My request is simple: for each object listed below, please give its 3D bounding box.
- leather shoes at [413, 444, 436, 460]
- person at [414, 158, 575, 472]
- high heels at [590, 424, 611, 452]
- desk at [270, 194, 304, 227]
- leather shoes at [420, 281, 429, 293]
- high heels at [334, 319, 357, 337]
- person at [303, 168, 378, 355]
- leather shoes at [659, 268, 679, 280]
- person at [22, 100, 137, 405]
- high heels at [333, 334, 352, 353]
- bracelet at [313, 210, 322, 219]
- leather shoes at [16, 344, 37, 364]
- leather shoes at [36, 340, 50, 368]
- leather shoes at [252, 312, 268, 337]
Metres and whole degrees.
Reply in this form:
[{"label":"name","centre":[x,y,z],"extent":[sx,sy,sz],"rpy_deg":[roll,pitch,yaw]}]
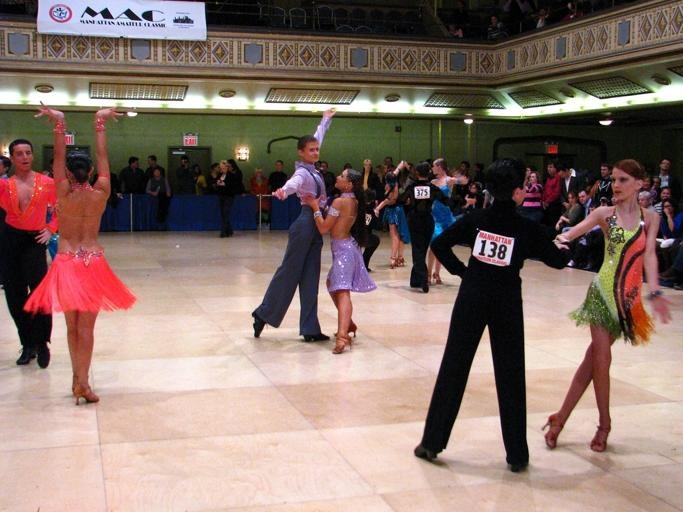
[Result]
[{"label":"leather shoes","centre":[0.514,1.206,3.272],"extent":[0.067,0.068,0.135],"rpy_deg":[-1,10,-29]},{"label":"person","centre":[0.884,0.349,3.122],"extent":[0.717,1.811,0.349],"rpy_deg":[3,8,23]},{"label":"high heels","centre":[1.649,1.177,3.386],"extent":[0.073,0.235,0.086],"rpy_deg":[-16,-47,37]},{"label":"desk","centre":[-2.303,-1.574,20.089],"extent":[0.830,1.020,0.978],"rpy_deg":[23,-2,-43]},{"label":"leather shoes","centre":[1.397,0.523,8.814],"extent":[0.073,0.218,0.139],"rpy_deg":[0,-4,-15]},{"label":"high heels","centre":[0.106,0.828,6.011],"extent":[0.128,0.226,0.404],"rpy_deg":[-8,-17,33]},{"label":"person","centre":[0.035,0.015,5.819],"extent":[0.605,1.924,0.917],"rpy_deg":[4,8,29]},{"label":"leather shoes","centre":[5.880,0.338,9.547],"extent":[0.126,0.157,0.359],"rpy_deg":[6,-3,-4]},{"label":"person","centre":[-2.048,-0.019,4.174],"extent":[0.545,2.286,0.646],"rpy_deg":[5,9,36]},{"label":"high heels","centre":[0.013,0.899,5.595],"extent":[0.154,0.195,0.317],"rpy_deg":[1,7,7]},{"label":"bracelet","centre":[-0.244,-0.435,5.579],"extent":[0.057,0.045,0.082],"rpy_deg":[13,-11,4]},{"label":"leather shoes","centre":[-3.017,0.963,5.087],"extent":[0.100,0.207,0.269],"rpy_deg":[2,-8,6]},{"label":"leather shoes","centre":[-2.782,0.928,4.965],"extent":[0.094,0.287,0.115],"rpy_deg":[-1,-2,-24]},{"label":"leather shoes","centre":[-0.930,0.778,6.047],"extent":[0.111,0.354,0.143],"rpy_deg":[7,31,11]}]
